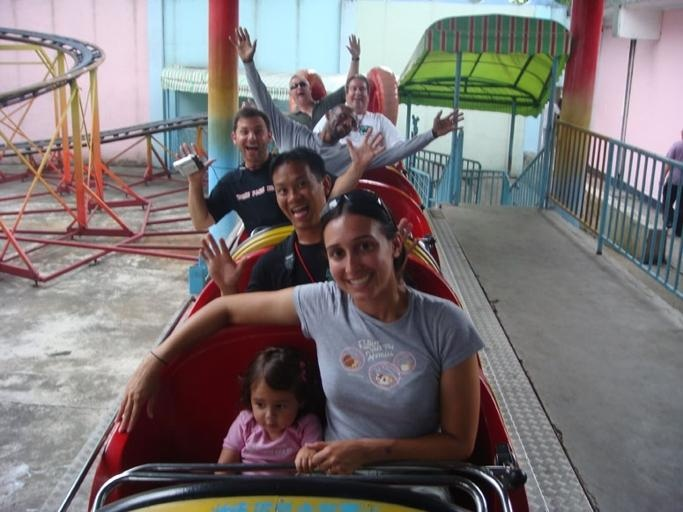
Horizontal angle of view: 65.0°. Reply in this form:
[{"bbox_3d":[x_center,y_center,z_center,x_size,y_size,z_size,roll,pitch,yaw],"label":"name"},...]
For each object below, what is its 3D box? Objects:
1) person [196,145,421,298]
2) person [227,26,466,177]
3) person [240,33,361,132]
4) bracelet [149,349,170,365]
[{"bbox_3d":[-0.246,-0.187,2.005,0.517,0.273,0.730,-5,24,8],"label":"person"},{"bbox_3d":[0.069,-1.117,4.302,1.887,0.954,0.835,8,28,-18],"label":"person"},{"bbox_3d":[-0.363,-1.507,5.169,1.212,1.457,0.387,-5,-9,-12],"label":"person"},{"bbox_3d":[-0.575,0.324,1.698,0.056,0.022,0.037,35,6,4],"label":"bracelet"}]
